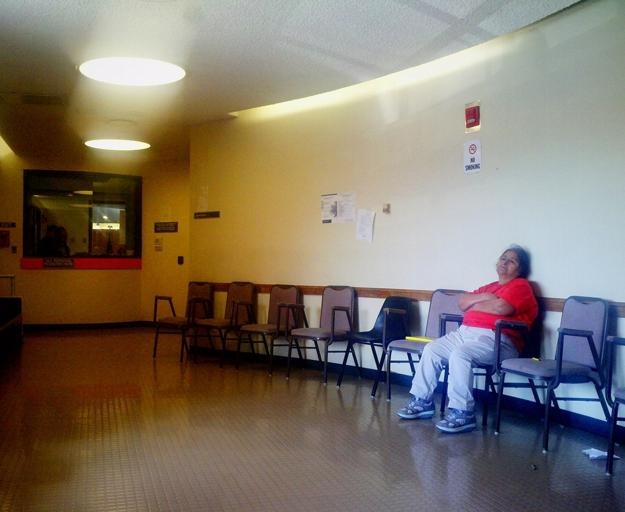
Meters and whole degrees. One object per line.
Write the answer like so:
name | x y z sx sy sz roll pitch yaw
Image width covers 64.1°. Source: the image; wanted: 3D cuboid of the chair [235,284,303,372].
chair | -0.533 0.845 6.083 0.749 1.061 0.815 4 -4 -26

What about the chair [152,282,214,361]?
chair | -1.790 0.883 6.888 0.754 1.103 0.836 3 -4 -6

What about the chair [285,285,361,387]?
chair | 0.119 0.848 5.587 0.709 1.089 0.747 3 -4 -20

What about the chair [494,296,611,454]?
chair | 1.893 0.852 3.772 0.753 1.093 0.720 2 -2 -26

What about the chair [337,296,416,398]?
chair | 0.664 0.897 5.174 0.632 0.971 0.601 -1 3 -35

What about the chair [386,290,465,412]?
chair | 1.036 0.832 4.726 0.681 1.064 0.731 1 0 28

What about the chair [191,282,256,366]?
chair | -1.159 0.784 6.471 0.688 1.048 0.710 2 -8 25

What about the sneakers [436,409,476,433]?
sneakers | 1.153 1.333 4.049 0.383 0.210 0.144 4 -9 -19
